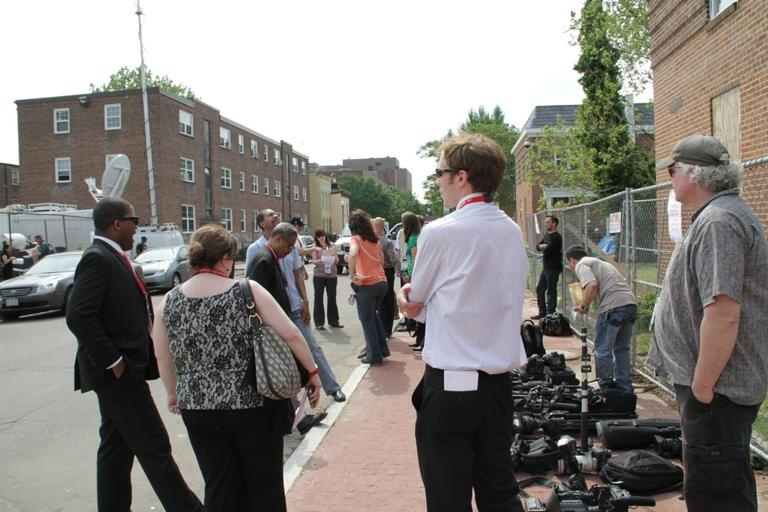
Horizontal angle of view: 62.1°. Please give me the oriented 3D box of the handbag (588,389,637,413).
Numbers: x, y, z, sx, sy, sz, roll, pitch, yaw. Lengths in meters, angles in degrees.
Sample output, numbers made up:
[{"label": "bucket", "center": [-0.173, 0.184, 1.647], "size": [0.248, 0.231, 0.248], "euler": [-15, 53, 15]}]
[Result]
[{"label": "handbag", "center": [2.662, 1.698, 7.475], "size": [0.348, 0.218, 0.357], "euler": [1, -4, 5]}]

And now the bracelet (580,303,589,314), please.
[{"label": "bracelet", "center": [2.606, 0.679, 8.359], "size": [0.095, 0.082, 0.107], "euler": [-47, -5, -10]}]

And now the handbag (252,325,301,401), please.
[{"label": "handbag", "center": [-0.893, 0.875, 5.236], "size": [0.204, 0.499, 0.436], "euler": [-21, -33, 16]}]

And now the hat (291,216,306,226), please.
[{"label": "hat", "center": [-1.480, -0.601, 10.987], "size": [0.156, 0.168, 0.135], "euler": [-9, -11, 34]}]

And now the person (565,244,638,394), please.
[{"label": "person", "center": [2.933, 0.856, 8.410], "size": [0.710, 1.668, 0.511], "euler": [-2, 2, 20]}]

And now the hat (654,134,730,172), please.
[{"label": "hat", "center": [2.553, -0.849, 5.279], "size": [0.419, 0.255, 0.283], "euler": [6, 10, 28]}]

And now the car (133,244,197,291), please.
[{"label": "car", "center": [-5.350, 0.301, 15.741], "size": [1.282, 1.021, 2.250], "euler": [-2, -4, 6]}]

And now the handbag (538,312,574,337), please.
[{"label": "handbag", "center": [3.311, 1.350, 12.357], "size": [0.473, 0.459, 0.647], "euler": [-3, -12, 16]}]

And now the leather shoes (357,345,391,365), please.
[{"label": "leather shoes", "center": [-0.252, 1.629, 10.678], "size": [0.235, 0.280, 0.636], "euler": [1, 3, -22]}]

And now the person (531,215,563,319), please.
[{"label": "person", "center": [3.450, 0.224, 13.429], "size": [0.598, 2.166, 1.018], "euler": [-2, 2, 6]}]
